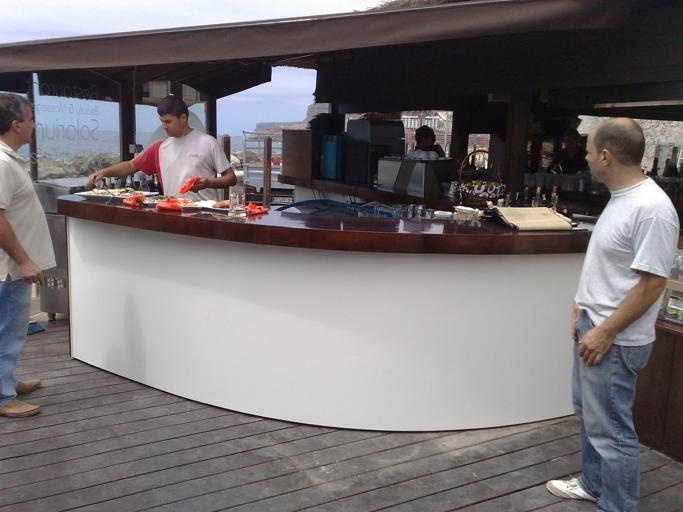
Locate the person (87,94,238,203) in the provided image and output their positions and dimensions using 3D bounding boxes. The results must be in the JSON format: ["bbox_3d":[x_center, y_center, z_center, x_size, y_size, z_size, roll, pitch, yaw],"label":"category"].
[{"bbox_3d":[-1.331,-0.846,4.166,1.030,0.813,0.709,7,13,25],"label":"person"}]

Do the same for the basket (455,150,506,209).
[{"bbox_3d":[1.135,-0.618,4.355,0.386,0.460,0.307,-10,18,-33],"label":"basket"}]

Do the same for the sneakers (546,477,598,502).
[{"bbox_3d":[1.176,1.211,2.738,0.251,0.089,0.087,8,4,15],"label":"sneakers"}]

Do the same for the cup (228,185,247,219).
[{"bbox_3d":[-0.640,-0.335,3.269,0.100,0.194,0.209,-1,12,-9],"label":"cup"}]

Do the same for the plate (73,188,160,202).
[{"bbox_3d":[-1.563,-0.459,3.929,0.794,0.048,0.467,9,14,34],"label":"plate"}]

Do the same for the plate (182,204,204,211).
[{"bbox_3d":[-0.965,-0.312,3.439,0.074,0.038,0.097,7,13,26],"label":"plate"}]

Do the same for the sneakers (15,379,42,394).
[{"bbox_3d":[-2.093,0.866,3.558,0.159,0.056,0.056,-9,19,-35],"label":"sneakers"}]
